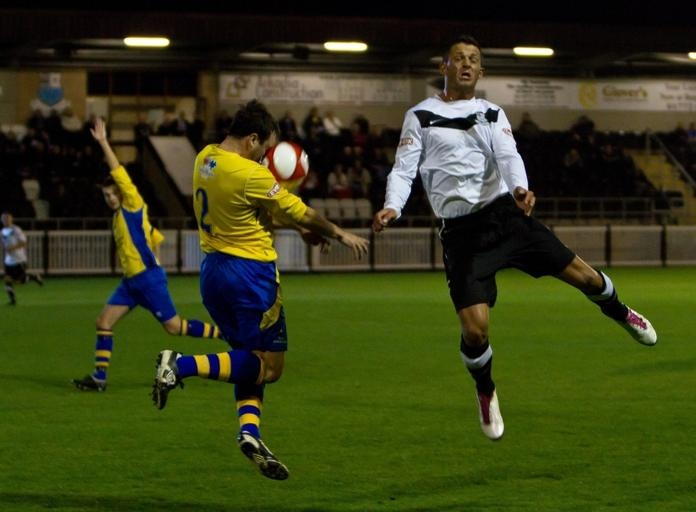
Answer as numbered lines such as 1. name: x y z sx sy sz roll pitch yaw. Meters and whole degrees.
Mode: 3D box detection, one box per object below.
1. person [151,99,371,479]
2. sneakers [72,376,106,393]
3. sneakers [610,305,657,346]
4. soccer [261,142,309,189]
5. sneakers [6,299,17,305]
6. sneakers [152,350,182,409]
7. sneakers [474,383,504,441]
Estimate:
1. person: -0.858 0.058 8.640 1.505 2.805 0.944 -1 7 -2
2. sneakers: -2.820 1.394 10.951 0.411 0.175 0.146 9 -5 -3
3. sneakers: 2.972 0.656 10.136 0.207 0.205 0.558 27 10 -27
4. soccer: -0.597 -0.884 9.599 0.442 0.513 0.435 -6 -1 -15
5. sneakers: -6.162 0.847 18.262 0.111 0.097 0.137 -3 8 -16
6. sneakers: -1.547 1.016 8.443 0.284 0.541 0.196 5 -11 -2
7. sneakers: 1.323 1.483 9.185 0.221 0.449 0.242 0 7 2
